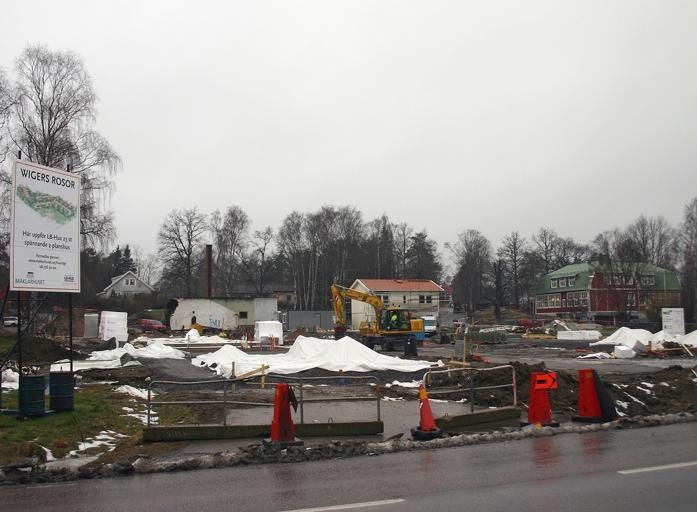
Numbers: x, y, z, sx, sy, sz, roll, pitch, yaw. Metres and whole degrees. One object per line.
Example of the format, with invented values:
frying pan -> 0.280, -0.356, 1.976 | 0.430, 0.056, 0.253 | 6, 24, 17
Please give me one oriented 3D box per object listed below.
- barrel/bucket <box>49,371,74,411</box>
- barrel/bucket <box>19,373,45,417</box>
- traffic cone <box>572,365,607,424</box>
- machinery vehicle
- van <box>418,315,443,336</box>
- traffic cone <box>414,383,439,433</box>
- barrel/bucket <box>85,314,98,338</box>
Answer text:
barrel/bucket -> -8.638, 4.079, 25.412 | 0.680, 1.088, 0.695 | -3, -3, 0
barrel/bucket -> -9.190, 4.077, 24.487 | 0.693, 1.098, 0.726 | -3, -4, 0
traffic cone -> 6.682, 3.929, 23.571 | 0.609, 1.445, 0.836 | 5, -11, -28
machinery vehicle -> 3.202, 3.862, 52.597 | 5.164, 4.713, 6.546 | -3, -3, -21
van -> 7.076, 5.803, 70.259 | 1.731, 2.053, 3.599 | 0, -9, 0
traffic cone -> 2.102, 3.966, 21.807 | 0.496, 1.209, 0.689 | 0, -10, 4
barrel/bucket -> -18.376, 4.997, 60.345 | 0.921, 1.839, 1.737 | 4, -11, -20
